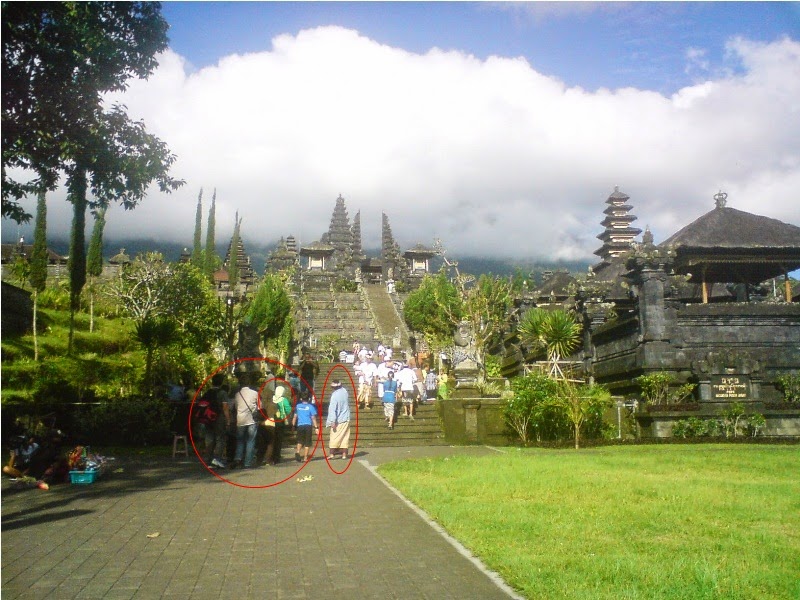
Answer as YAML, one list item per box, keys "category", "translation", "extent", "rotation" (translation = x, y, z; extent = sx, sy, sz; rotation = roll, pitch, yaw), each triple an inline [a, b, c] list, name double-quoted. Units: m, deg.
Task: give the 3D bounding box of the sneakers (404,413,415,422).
- category: "sneakers"
  translation: [0.315, 4.377, 28.591]
  extent: [0.391, 0.237, 0.183]
  rotation: [1, -4, 10]

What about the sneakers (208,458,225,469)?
- category: "sneakers"
  translation: [-4.640, 4.056, 19.139]
  extent: [0.536, 0.237, 0.186]
  rotation: [2, -6, 16]

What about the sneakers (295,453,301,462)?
- category: "sneakers"
  translation: [-2.835, 4.353, 21.224]
  extent: [0.162, 0.272, 0.270]
  rotation: [-1, -22, -2]
